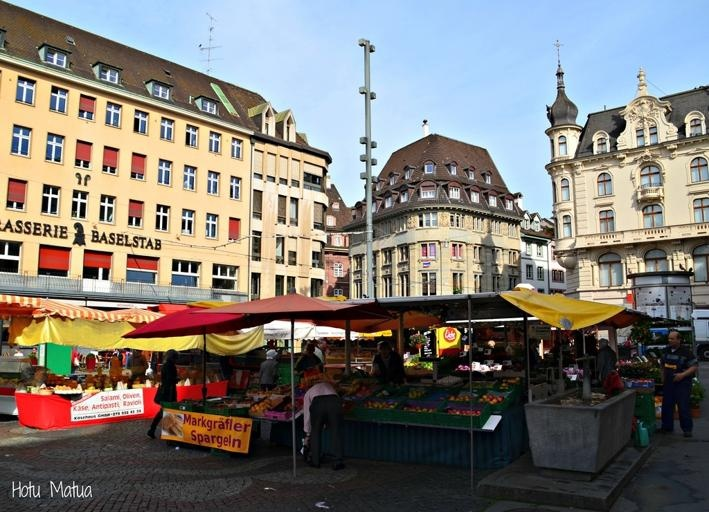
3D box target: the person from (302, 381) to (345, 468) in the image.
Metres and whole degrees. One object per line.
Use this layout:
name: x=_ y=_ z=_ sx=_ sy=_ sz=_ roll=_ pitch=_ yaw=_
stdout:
person: x=-0.717 y=3.803 z=16.245 sx=0.938 sy=1.943 sz=0.537 roll=0 pitch=-10 yaw=2

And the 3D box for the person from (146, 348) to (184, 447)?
person: x=-5.056 y=3.647 z=18.861 sx=0.682 sy=2.281 sz=1.560 roll=3 pitch=-10 yaw=-16

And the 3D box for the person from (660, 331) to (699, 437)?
person: x=8.273 y=3.231 z=18.233 sx=0.769 sy=2.651 sz=0.809 roll=0 pitch=-10 yaw=4

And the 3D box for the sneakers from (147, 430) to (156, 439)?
sneakers: x=-5.283 y=4.673 z=18.605 sx=0.217 sy=0.217 sz=0.378 roll=3 pitch=-9 yaw=-15

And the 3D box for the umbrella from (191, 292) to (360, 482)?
umbrella: x=-1.579 y=2.898 z=16.525 sx=3.236 sy=4.012 sz=2.427 roll=0 pitch=-9 yaw=0

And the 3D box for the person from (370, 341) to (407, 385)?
person: x=0.929 y=2.852 z=19.252 sx=0.848 sy=1.104 sz=1.678 roll=0 pitch=-9 yaw=2

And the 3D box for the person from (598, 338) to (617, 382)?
person: x=6.891 y=2.860 z=19.479 sx=0.514 sy=1.217 sz=1.736 roll=-3 pitch=-9 yaw=19

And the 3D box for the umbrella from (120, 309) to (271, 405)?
umbrella: x=-4.952 y=3.102 z=21.791 sx=3.529 sy=2.083 sz=3.346 roll=-6 pitch=-12 yaw=15

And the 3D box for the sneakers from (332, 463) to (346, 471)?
sneakers: x=-0.322 y=4.698 z=15.987 sx=0.320 sy=0.174 sz=0.168 roll=8 pitch=-12 yaw=-40

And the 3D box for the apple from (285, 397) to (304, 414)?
apple: x=-1.449 y=3.621 z=17.188 sx=0.361 sy=0.116 sz=0.364 roll=-6 pitch=6 yaw=-12

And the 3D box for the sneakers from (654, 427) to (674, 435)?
sneakers: x=7.982 y=4.542 z=18.429 sx=0.508 sy=0.206 sz=0.174 roll=3 pitch=-4 yaw=29

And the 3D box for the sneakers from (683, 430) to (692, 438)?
sneakers: x=8.354 y=4.471 z=17.877 sx=0.213 sy=0.148 sz=0.226 roll=-2 pitch=-9 yaw=14
